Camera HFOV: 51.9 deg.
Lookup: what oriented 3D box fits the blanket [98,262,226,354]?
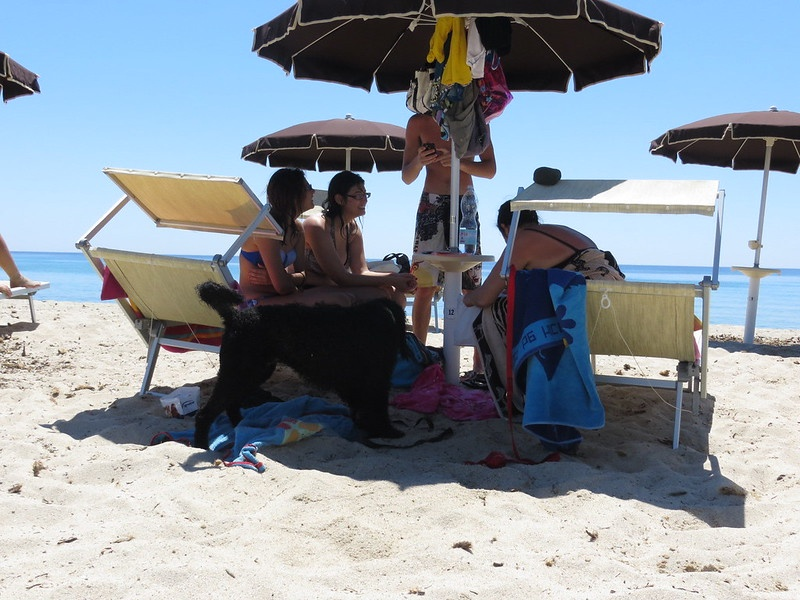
[{"bbox_3d":[-1.505,0.016,5.246,0.470,0.733,0.748,6,13,38],"label":"blanket"}]

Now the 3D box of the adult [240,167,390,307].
[{"bbox_3d":[-0.732,-0.398,5.084,1.069,1.054,0.615,-5,9,-17],"label":"adult"}]

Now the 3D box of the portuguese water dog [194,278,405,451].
[{"bbox_3d":[-0.522,0.420,4.622,1.308,0.818,0.431,4,-5,-22],"label":"portuguese water dog"}]

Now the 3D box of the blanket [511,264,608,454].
[{"bbox_3d":[0.876,0.318,4.582,0.487,0.950,0.514,0,15,7],"label":"blanket"}]

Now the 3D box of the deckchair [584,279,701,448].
[{"bbox_3d":[1.585,0.298,5.207,0.861,0.879,1.375,6,7,29],"label":"deckchair"}]

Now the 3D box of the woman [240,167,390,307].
[{"bbox_3d":[-0.446,-0.404,5.111,1.069,1.054,0.615,-5,9,-17],"label":"woman"}]

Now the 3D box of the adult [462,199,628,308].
[{"bbox_3d":[1.127,-0.273,5.080,1.103,0.440,0.860,14,18,27],"label":"adult"}]

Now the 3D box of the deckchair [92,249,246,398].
[{"bbox_3d":[-1.419,0.038,4.989,0.726,0.954,1.046,5,21,7],"label":"deckchair"}]

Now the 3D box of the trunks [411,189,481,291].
[{"bbox_3d":[0.329,-0.441,6.034,0.521,0.693,0.250,2,23,11],"label":"trunks"}]
